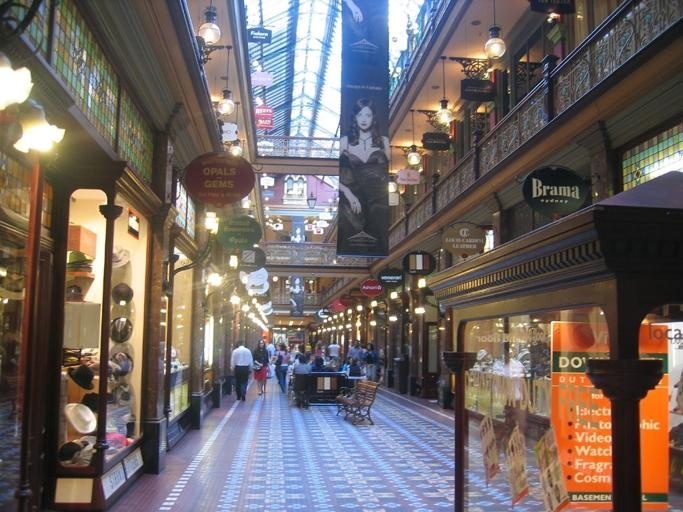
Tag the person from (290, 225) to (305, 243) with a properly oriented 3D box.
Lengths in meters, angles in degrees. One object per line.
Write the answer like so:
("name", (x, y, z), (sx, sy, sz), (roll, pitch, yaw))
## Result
("person", (-3.062, -1.657, 45.695), (0.932, 1.322, 1.287), (0, -13, -7))
